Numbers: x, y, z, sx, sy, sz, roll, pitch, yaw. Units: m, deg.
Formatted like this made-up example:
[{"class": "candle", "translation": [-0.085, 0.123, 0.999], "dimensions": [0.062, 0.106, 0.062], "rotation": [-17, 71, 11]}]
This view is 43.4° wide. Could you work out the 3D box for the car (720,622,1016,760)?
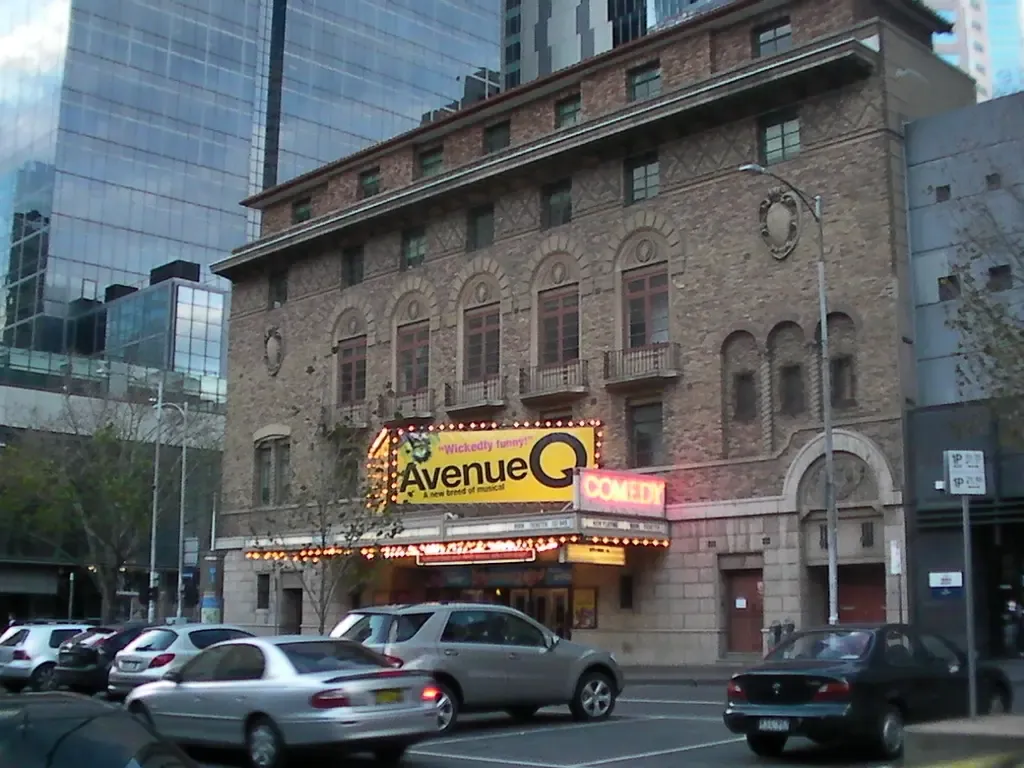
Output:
[{"class": "car", "translation": [6.494, 5.882, 24.637], "dimensions": [4.559, 2.506, 1.748], "rotation": [2, -13, -20]}]
